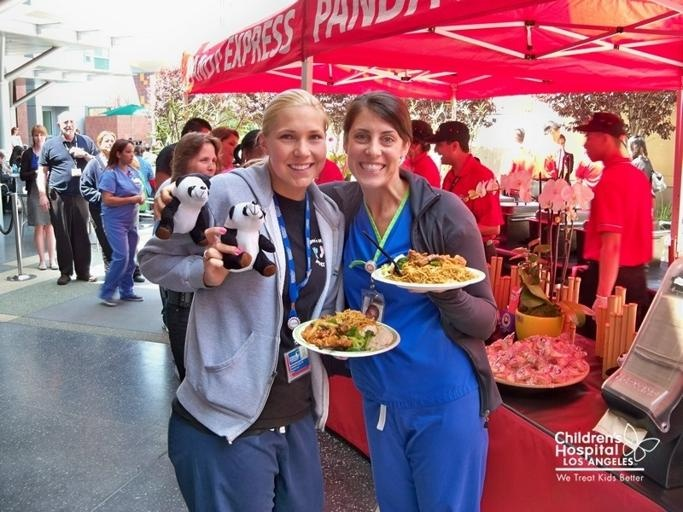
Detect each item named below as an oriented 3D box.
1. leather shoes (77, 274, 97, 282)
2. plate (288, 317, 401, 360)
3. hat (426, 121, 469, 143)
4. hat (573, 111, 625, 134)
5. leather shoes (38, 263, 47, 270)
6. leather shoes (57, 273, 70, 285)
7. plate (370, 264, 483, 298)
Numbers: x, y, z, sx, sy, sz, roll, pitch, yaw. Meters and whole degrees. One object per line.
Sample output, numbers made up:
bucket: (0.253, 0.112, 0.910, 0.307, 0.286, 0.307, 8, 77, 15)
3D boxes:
leather shoes: (-4.558, 0.409, 7.936, 0.380, 0.169, 0.141, -1, 6, -3)
plate: (0.017, 0.326, 1.620, 0.390, 0.130, 0.275, -1, 13, -6)
hat: (1.208, -1.331, 4.826, 0.326, 0.169, 0.235, 1, 12, 2)
hat: (2.167, -1.046, 3.714, 0.357, 0.187, 0.242, 20, 20, 18)
leather shoes: (-5.776, 0.230, 8.497, 0.081, 0.117, 0.265, -4, -7, -30)
leather shoes: (-4.865, 0.449, 7.683, 0.107, 0.122, 0.294, 0, 1, -11)
plate: (0.325, 0.116, 1.628, 0.426, 0.106, 0.321, 1, 13, 3)
